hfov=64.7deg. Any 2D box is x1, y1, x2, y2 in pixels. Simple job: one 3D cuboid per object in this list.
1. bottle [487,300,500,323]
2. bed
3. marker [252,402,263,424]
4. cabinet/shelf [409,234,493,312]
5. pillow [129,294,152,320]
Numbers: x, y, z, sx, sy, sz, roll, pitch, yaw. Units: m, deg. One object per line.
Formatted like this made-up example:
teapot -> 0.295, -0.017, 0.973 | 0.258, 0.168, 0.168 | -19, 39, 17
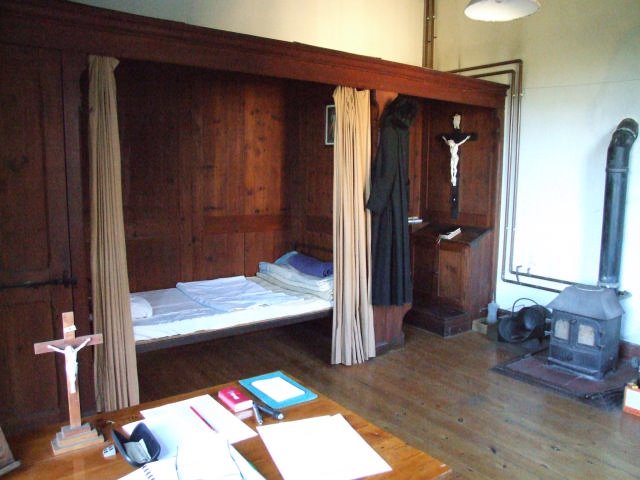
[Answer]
bottle -> 1.984, 0.842, 5.836 | 0.163, 0.224, 0.132 | -7, 10, -31
bed -> -0.789, 0.624, 4.736 | 1.504, 0.423, 0.871 | -5, 16, -29
marker -> -0.318, 0.869, 2.543 | 0.027, 0.034, 0.122 | 2, 30, -24
cabinet/shelf -> 1.566, 0.343, 6.111 | 0.556, 1.112, 0.792 | -11, 16, -43
pillow -> -1.579, 0.578, 4.404 | 0.171, 0.060, 0.225 | -1, 22, -31
